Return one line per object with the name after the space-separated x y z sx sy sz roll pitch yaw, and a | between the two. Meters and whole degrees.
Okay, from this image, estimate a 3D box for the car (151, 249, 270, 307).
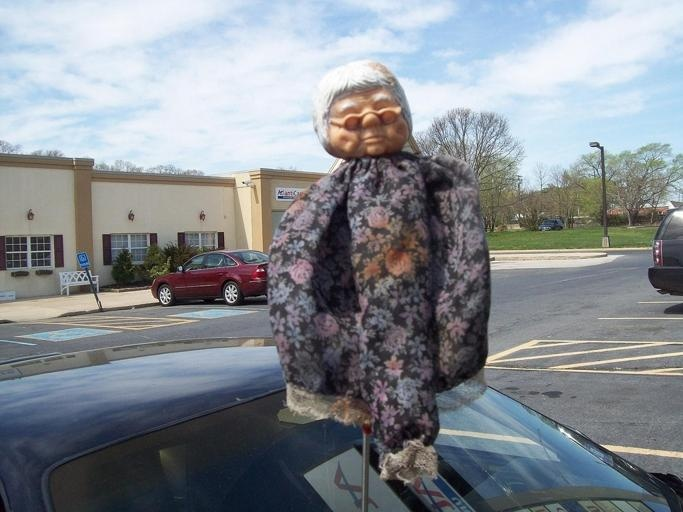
-3.330 0.579 14.108 3.958 1.300 0.698 -5 3 33 | car

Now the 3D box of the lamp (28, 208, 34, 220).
-10.835 -1.420 18.557 0.239 0.428 0.235 -7 3 -30 | lamp

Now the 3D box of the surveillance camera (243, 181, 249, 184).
-4.337 -3.307 24.058 0.195 0.082 0.276 -1 1 -2 | surveillance camera

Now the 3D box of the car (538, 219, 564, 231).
22.523 -3.319 57.055 1.766 1.175 3.175 -6 2 -2 | car

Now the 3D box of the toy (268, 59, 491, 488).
0.107 0.152 1.522 0.618 0.787 0.284 -6 3 -9 | toy

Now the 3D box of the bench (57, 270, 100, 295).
-9.683 0.908 19.221 0.955 0.940 0.844 -7 3 -30 | bench
